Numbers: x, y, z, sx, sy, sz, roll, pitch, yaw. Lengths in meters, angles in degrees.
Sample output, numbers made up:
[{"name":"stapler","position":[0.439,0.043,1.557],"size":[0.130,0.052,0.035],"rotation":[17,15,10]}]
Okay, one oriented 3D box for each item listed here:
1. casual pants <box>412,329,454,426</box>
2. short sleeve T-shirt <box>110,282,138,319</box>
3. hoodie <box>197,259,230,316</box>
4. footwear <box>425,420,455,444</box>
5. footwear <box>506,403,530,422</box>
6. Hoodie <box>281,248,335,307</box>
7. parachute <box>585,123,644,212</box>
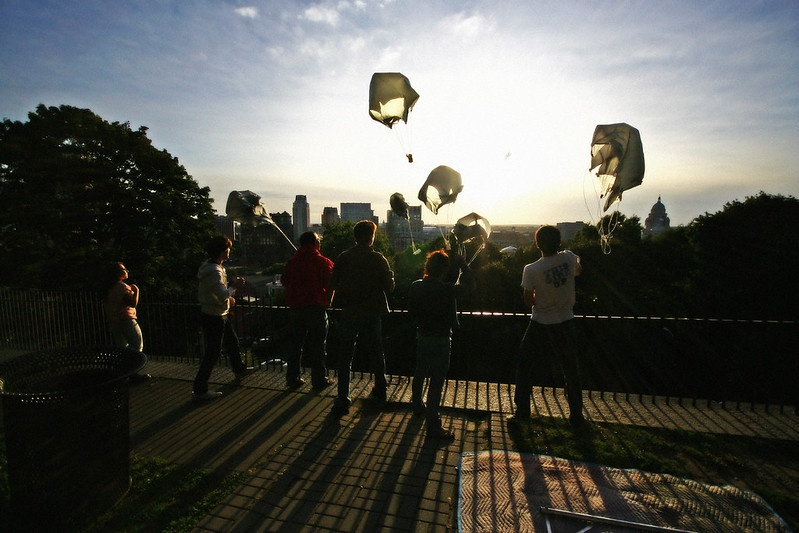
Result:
[{"name":"casual pants","position":[0.536,1.859,8.451],"size":[0.602,1.603,0.914],"rotation":[-1,5,-3]},{"name":"short sleeve T-shirt","position":[-5.573,0.701,10.078],"size":[0.582,0.569,0.382],"rotation":[11,21,23]},{"name":"hoodie","position":[-3.464,0.429,9.323],"size":[0.662,1.078,1.080],"rotation":[-6,12,-26]},{"name":"footwear","position":[0.657,2.703,8.112],"size":[0.468,0.305,0.224],"rotation":[-1,-1,-1]},{"name":"footwear","position":[2.048,2.513,8.563],"size":[0.273,0.513,0.272],"rotation":[-3,-7,43]},{"name":"Hoodie","position":[-1.742,0.211,9.425],"size":[1.049,1.073,0.593],"rotation":[-4,-28,-5]},{"name":"parachute","position":[4.242,-1.848,9.755],"size":[0.858,1.851,1.258],"rotation":[2,-16,26]}]
